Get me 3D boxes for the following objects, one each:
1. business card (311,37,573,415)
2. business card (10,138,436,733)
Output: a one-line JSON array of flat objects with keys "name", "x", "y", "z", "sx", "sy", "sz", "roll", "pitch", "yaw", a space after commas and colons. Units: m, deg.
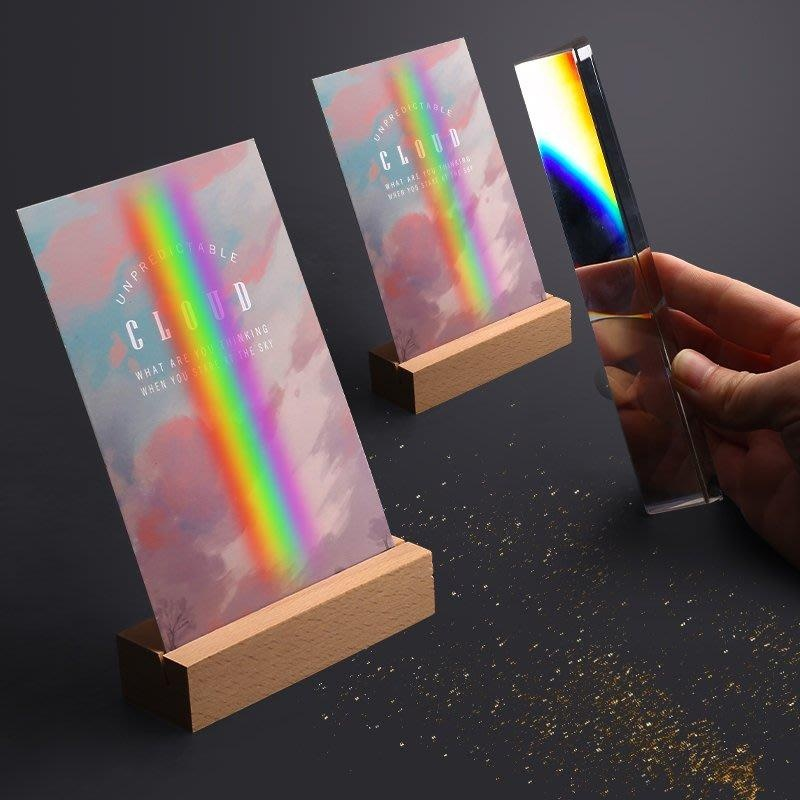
[{"name": "business card", "x": 0.067, "y": -0.231, "z": 1.059, "sx": 0.276, "sy": 0.450, "sz": 0.131, "roll": -19, "pitch": 10, "yaw": -27}, {"name": "business card", "x": -0.140, "y": 0.043, "z": 0.660, "sx": 0.259, "sy": 0.482, "sz": 0.160, "roll": -32, "pitch": 31, "yaw": -26}]
